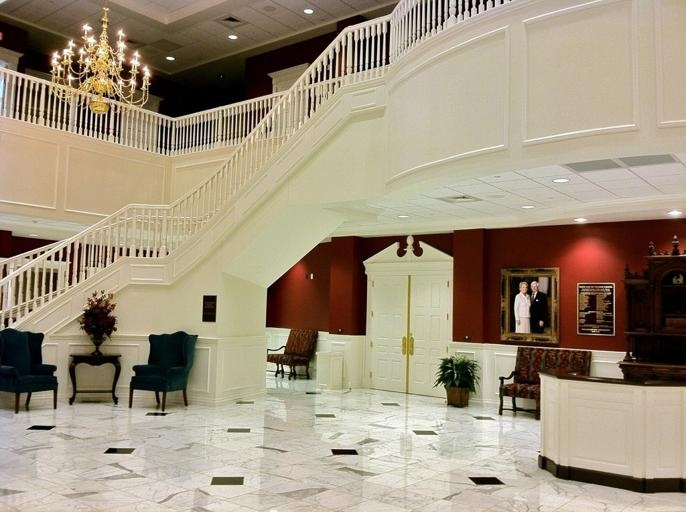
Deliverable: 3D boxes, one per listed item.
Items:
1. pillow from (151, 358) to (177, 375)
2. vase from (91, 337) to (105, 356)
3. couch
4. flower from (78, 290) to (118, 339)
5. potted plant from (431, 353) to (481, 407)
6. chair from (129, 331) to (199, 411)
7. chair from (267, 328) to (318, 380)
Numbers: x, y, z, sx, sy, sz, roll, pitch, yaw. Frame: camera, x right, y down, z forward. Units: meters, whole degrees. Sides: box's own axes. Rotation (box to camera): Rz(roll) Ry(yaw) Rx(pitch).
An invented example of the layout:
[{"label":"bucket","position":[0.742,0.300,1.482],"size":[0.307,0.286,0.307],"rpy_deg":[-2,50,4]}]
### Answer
[{"label":"pillow","position":[-3.306,2.052,9.578],"size":[0.302,0.267,0.253],"rpy_deg":[1,-11,-3]},{"label":"vase","position":[-4.498,1.647,9.544],"size":[0.182,0.346,0.349],"rpy_deg":[4,-4,-25]},{"label":"couch","position":[3.234,2.038,8.296],"size":[1.359,1.120,0.707],"rpy_deg":[-5,-11,44]},{"label":"flower","position":[-4.497,1.095,9.609],"size":[0.635,0.923,0.533],"rpy_deg":[4,-4,-27]},{"label":"potted plant","position":[2.350,2.516,10.634],"size":[0.930,0.971,0.919],"rpy_deg":[-1,-5,20]},{"label":"chair","position":[-3.287,2.067,9.527],"size":[0.952,1.348,0.915],"rpy_deg":[1,-4,15]},{"label":"chair","position":[-1.187,2.386,13.353],"size":[1.144,1.324,1.555],"rpy_deg":[2,-4,-36]}]
